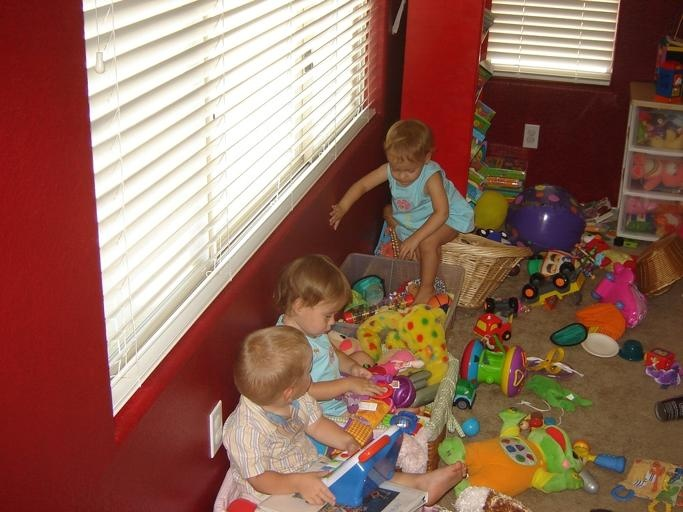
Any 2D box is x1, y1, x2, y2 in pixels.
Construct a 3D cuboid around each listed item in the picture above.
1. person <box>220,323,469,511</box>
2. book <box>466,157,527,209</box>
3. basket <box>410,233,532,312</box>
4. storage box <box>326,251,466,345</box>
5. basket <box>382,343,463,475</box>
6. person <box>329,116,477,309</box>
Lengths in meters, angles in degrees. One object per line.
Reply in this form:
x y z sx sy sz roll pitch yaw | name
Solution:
-0.026 0.440 1.957 0.822 0.689 0.448 5 22 18 | person
1.167 -0.575 4.385 0.396 0.407 0.099 13 -7 7 | book
0.737 0.075 3.447 0.324 0.354 0.458 -6 11 9 | basket
0.340 0.204 3.247 0.554 0.225 0.480 9 59 6 | storage box
0.346 0.654 2.288 0.253 0.164 0.385 5 35 19 | basket
0.334 -0.253 3.193 0.771 0.982 0.707 -8 31 -3 | person
